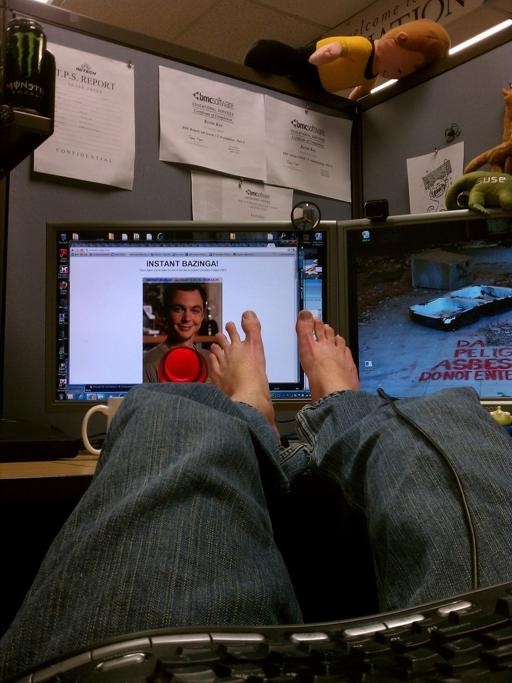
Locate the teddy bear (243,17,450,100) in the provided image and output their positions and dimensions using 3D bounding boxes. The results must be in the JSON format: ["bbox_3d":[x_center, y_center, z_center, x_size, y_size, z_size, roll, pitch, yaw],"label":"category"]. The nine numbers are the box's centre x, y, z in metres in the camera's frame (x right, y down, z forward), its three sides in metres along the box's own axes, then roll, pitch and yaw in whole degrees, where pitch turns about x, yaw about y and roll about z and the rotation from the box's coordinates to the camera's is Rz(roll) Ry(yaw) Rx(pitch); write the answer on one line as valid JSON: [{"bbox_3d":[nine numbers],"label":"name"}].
[{"bbox_3d":[0.187,-0.547,1.107,0.276,0.108,0.199,7,2,12],"label":"teddy bear"}]

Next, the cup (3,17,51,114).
[{"bbox_3d":[-0.260,-0.310,0.642,0.047,0.110,0.063,-5,0,-3],"label":"cup"}]
